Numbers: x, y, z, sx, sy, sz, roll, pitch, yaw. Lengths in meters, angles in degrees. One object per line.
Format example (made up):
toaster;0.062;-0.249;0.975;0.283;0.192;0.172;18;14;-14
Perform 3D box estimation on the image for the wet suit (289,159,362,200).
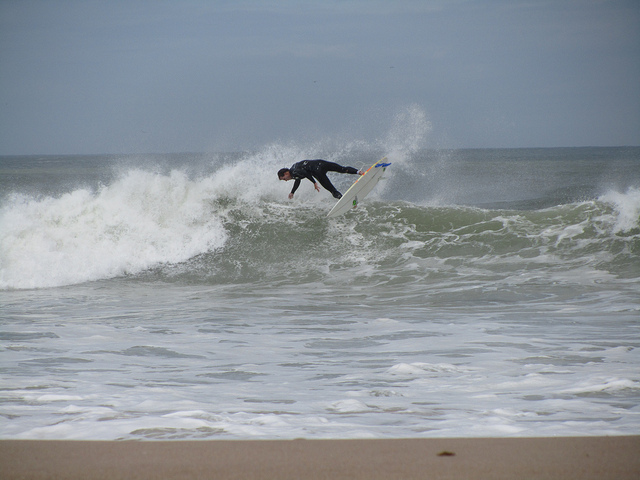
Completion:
wet suit;-0.046;-1.100;17.187;1.200;0.595;0.645;-5;103;-10
